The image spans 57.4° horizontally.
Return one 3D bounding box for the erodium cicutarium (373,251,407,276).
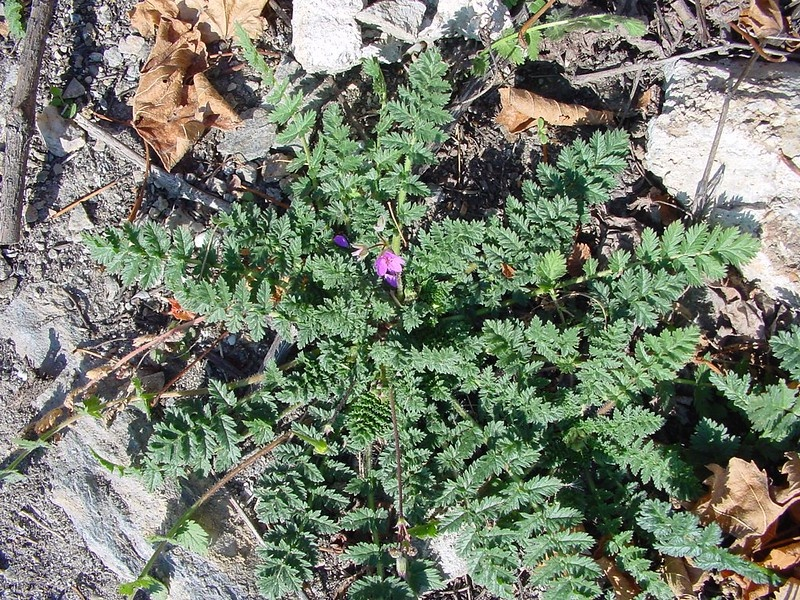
[{"bbox_3d":[-0.073,-0.224,4.700,0.157,0.165,0.079,5,23,-8],"label":"erodium cicutarium"}]
